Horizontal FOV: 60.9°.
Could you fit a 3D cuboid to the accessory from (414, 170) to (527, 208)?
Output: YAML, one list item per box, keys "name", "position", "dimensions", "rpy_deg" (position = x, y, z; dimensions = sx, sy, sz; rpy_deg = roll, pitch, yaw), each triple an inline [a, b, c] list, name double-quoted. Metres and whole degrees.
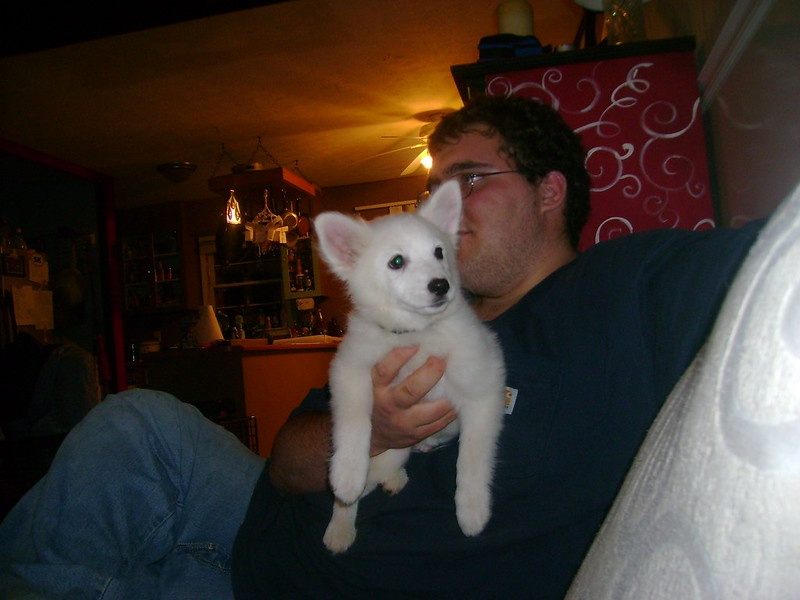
- name: "accessory"
  position: [0.259, -0.462, 3.061]
  dimensions: [0.330, 0.118, 0.401]
  rpy_deg: [19, 21, 39]

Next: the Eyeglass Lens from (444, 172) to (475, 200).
- name: "Eyeglass Lens"
  position: [0.312, -0.550, 3.227]
  dimensions: [0.105, 0.144, 0.055]
  rpy_deg: [1, 31, 6]
